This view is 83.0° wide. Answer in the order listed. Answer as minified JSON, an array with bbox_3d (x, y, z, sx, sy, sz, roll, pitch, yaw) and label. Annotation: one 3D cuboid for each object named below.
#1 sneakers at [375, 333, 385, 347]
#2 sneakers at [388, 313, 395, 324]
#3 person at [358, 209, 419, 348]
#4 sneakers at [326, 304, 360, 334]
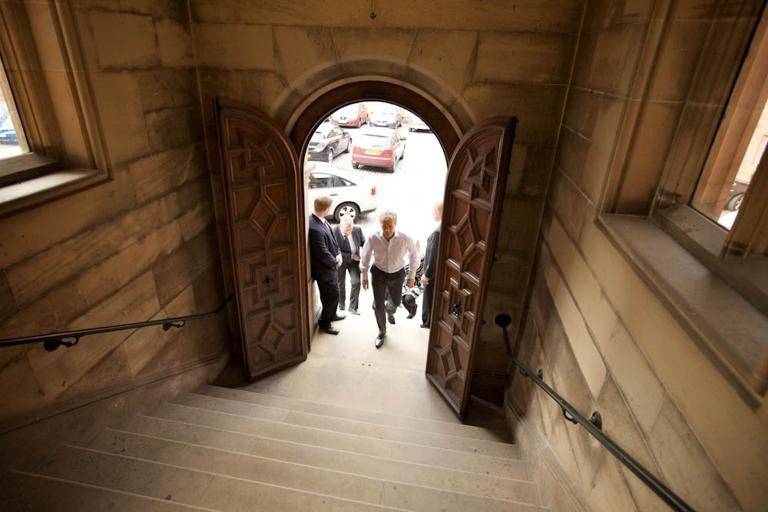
[{"bbox_3d":[-0.030,0.955,4.903,0.071,0.102,0.167,8,61,9],"label":"sneakers"},{"bbox_3d":[0.093,0.762,5.211,0.060,0.131,0.128,5,-22,-2],"label":"sneakers"},{"bbox_3d":[0.055,0.225,4.862,0.529,1.531,0.550,17,22,33],"label":"person"},{"bbox_3d":[-0.545,0.765,5.128,0.378,0.219,0.120,-15,32,-26],"label":"sneakers"}]
